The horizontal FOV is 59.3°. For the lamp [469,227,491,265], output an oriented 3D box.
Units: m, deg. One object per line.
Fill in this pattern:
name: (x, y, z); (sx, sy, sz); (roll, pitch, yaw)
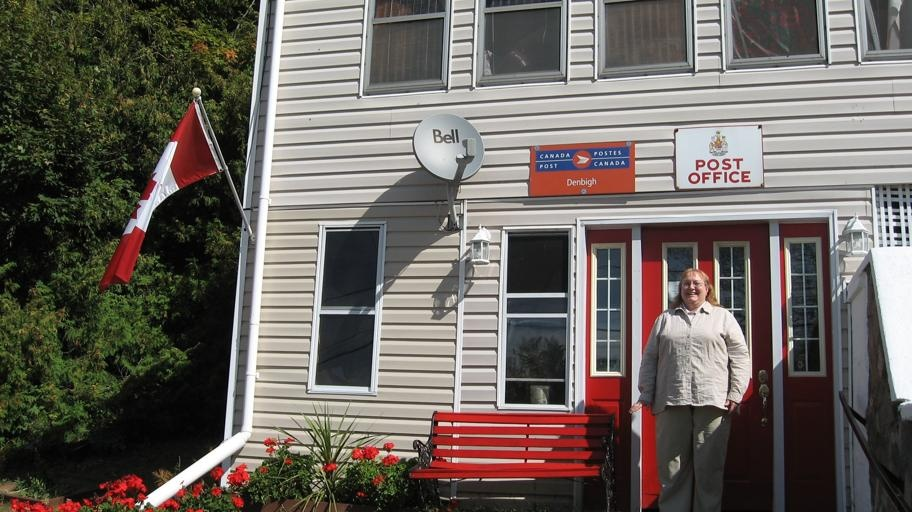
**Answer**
lamp: (0.365, -0.186, 12.472); (0.313, 0.564, 0.159); (2, -5, 0)

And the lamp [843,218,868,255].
lamp: (5.836, -0.292, 11.733); (0.340, 0.527, 0.121); (1, -5, 19)
